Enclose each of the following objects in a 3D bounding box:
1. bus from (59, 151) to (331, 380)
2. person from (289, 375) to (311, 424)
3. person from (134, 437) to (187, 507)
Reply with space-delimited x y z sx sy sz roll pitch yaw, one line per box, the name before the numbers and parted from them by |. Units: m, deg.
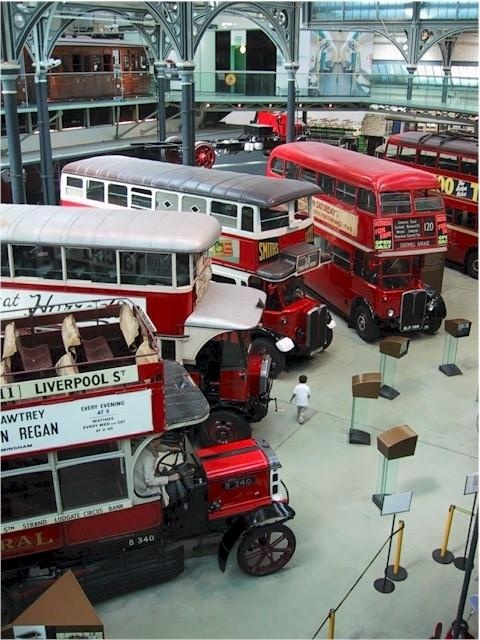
bus | -2.976 -2.174 13.341 10.026 5.262 3.441 10 20 26
person | 1.238 1.575 10.612 0.415 0.920 0.367 3 13 6
person | -0.962 1.859 6.265 0.647 1.074 0.520 -1 53 -22
